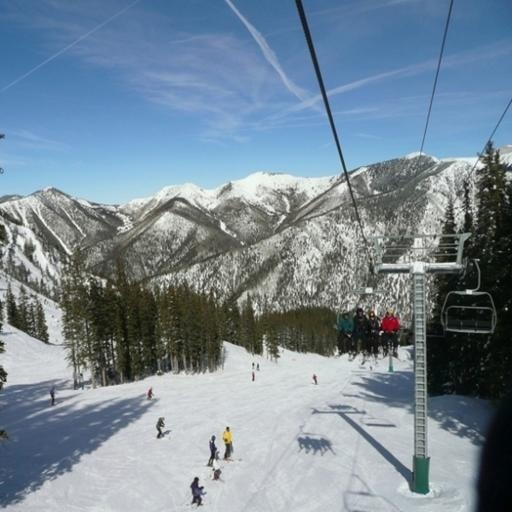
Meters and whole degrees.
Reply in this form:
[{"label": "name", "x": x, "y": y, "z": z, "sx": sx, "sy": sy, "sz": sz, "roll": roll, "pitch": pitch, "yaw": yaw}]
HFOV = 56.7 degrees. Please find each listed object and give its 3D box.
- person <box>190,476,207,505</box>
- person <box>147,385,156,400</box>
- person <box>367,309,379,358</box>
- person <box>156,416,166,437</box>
[{"label": "person", "x": -3.349, "y": 13.338, "z": 27.399, "sx": 0.785, "sy": 1.760, "sz": 1.758, "roll": 0, "pitch": -5, "yaw": -7}, {"label": "person", "x": -11.938, "y": 15.482, "z": 54.075, "sx": 0.622, "sy": 2.182, "sz": 0.883, "roll": 2, "pitch": 29, "yaw": -12}, {"label": "person", "x": 6.765, "y": 4.430, "z": 27.349, "sx": 0.625, "sy": 2.893, "sz": 0.681, "roll": -1, "pitch": 19, "yaw": 14}, {"label": "person", "x": -7.820, "y": 13.838, "z": 38.968, "sx": 0.645, "sy": 1.660, "sz": 2.882, "roll": 1, "pitch": -6, "yaw": -10}]
